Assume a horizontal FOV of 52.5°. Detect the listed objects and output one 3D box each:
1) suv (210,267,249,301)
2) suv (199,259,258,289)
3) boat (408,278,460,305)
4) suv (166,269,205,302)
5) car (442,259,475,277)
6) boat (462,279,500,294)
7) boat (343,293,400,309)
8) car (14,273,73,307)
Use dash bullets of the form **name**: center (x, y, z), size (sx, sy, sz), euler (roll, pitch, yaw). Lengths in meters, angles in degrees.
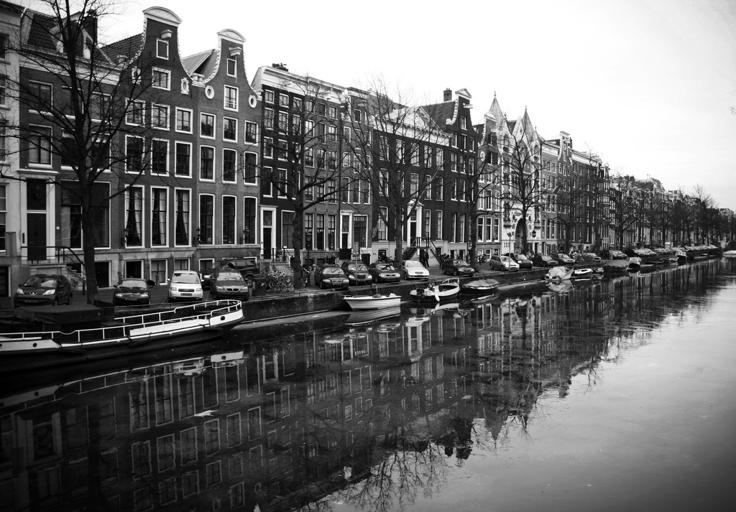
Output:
- **suv**: center (-8.759, 1.882, 47.732), size (2.217, 1.960, 2.485), euler (-1, 0, -35)
- **suv**: center (-9.393, 1.210, 52.407), size (4.249, 2.064, 1.971), euler (1, -2, -40)
- **boat**: center (5.474, 2.861, 58.490), size (1.561, 1.314, 4.194), euler (5, 10, 37)
- **suv**: center (-11.303, 1.935, 46.819), size (1.597, 1.412, 3.350), euler (0, -2, -17)
- **car**: center (7.941, 1.096, 67.515), size (1.232, 1.039, 2.960), euler (-1, -2, -20)
- **boat**: center (9.388, 2.539, 61.703), size (2.476, 0.800, 1.313), euler (2, -2, -36)
- **boat**: center (0.340, 3.298, 52.587), size (4.430, 1.138, 1.035), euler (-1, 0, -38)
- **car**: center (-18.597, 1.984, 42.887), size (2.011, 1.607, 3.295), euler (0, -6, -9)
